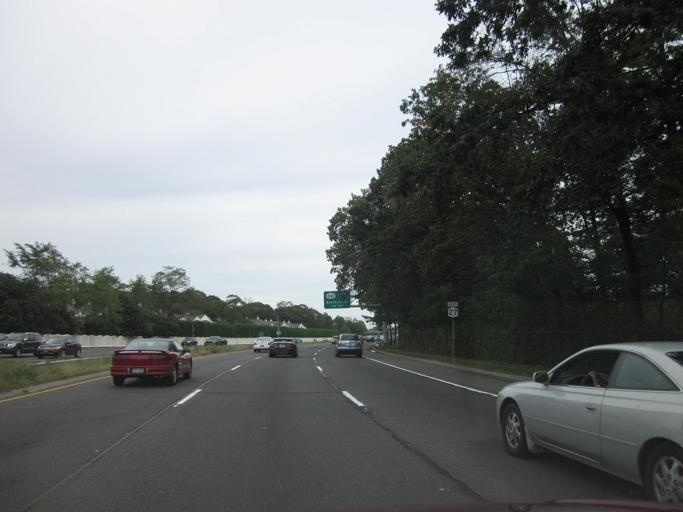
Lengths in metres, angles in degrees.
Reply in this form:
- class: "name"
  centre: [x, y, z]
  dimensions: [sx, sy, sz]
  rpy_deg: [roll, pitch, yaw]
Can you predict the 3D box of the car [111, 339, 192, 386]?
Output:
- class: "car"
  centre: [-6.002, 3.436, 20.166]
  dimensions: [1.252, 0.942, 2.692]
  rpy_deg: [-1, -6, 0]
